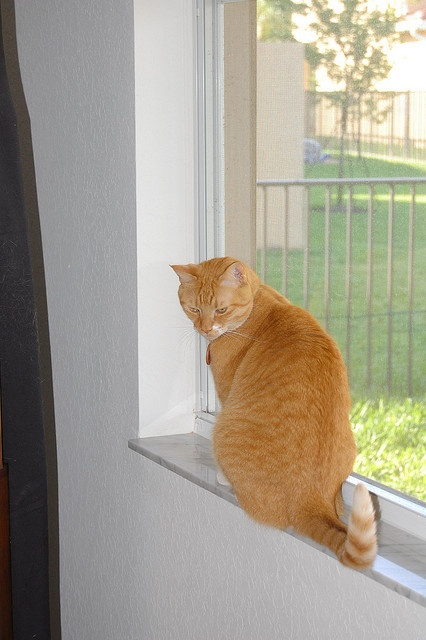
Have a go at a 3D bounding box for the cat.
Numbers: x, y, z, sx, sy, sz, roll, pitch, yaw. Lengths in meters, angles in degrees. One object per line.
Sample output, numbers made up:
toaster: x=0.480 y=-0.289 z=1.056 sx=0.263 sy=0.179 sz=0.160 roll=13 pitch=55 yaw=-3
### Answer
cat: x=0.057 y=0.091 z=0.784 sx=0.166 sy=0.462 sz=0.214 roll=-13 pitch=-25 yaw=3
